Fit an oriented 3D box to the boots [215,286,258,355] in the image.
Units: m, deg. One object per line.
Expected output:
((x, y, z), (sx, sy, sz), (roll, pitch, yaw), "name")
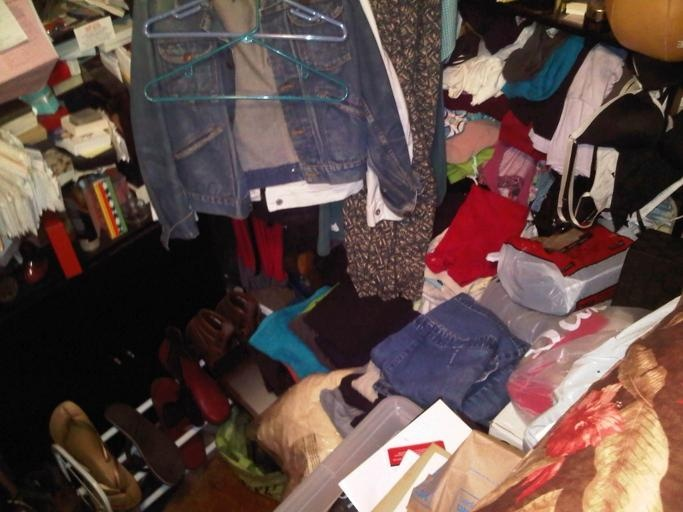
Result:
((-0.499, 0.296, 2.586), (0.183, 0.287, 0.157), (21, 60, 3), "boots")

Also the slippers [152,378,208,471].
((-0.774, 0.794, 2.589), (0.185, 0.594, 0.151), (8, 17, 19), "slippers")

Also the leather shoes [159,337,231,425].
((-0.679, 0.561, 2.511), (0.144, 0.186, 0.479), (-36, 85, -26), "leather shoes")

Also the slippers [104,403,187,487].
((-0.901, 0.822, 2.403), (0.477, 0.065, 0.233), (44, 25, 14), "slippers")
